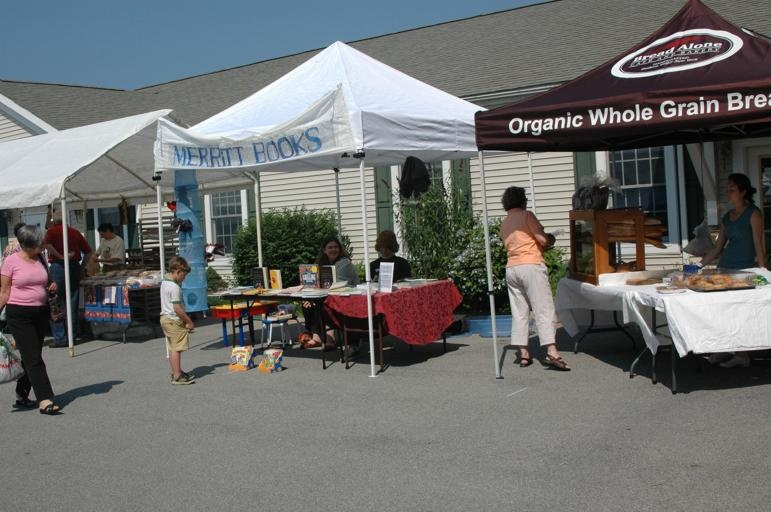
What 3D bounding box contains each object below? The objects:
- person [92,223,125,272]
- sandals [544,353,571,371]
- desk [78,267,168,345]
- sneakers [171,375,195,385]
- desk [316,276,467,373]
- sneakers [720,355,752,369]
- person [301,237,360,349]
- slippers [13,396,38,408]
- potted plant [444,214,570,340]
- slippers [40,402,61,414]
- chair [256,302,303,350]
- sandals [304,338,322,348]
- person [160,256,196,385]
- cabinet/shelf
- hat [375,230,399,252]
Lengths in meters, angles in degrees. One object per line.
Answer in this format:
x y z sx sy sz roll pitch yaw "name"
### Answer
-5.620 -0.183 13.277 0.562 0.985 1.227 -8 12 -23 "person"
2.226 1.359 8.477 0.328 0.129 0.176 3 1 30 "sandals"
-4.646 0.871 12.220 1.700 1.058 1.256 -2 7 16 "desk"
-2.742 1.674 8.858 0.272 0.116 0.121 -1 3 -6 "sneakers"
0.185 0.938 9.350 1.863 1.159 1.021 -11 13 -36 "desk"
4.378 1.323 8.249 0.437 0.170 0.148 0 0 5 "sneakers"
-0.916 0.527 10.085 0.960 1.586 0.792 -11 22 -44 "person"
-4.568 1.838 8.252 0.279 0.082 0.140 0 3 30 "slippers"
2.235 0.401 11.670 1.991 2.069 2.176 -3 -4 6 "potted plant"
-4.089 1.825 7.935 0.239 0.086 0.129 -2 -2 38 "slippers"
-1.753 1.122 10.746 0.405 0.614 0.441 -2 1 27 "chair"
-1.088 1.378 10.434 0.436 0.154 0.155 2 -4 -26 "sandals"
-2.817 0.865 8.896 0.437 1.727 0.804 -7 11 -17 "person"
2.947 -0.233 9.002 0.934 1.337 1.367 -2 2 -27 "cabinet/shelf"
0.022 -0.223 10.103 0.314 0.302 0.316 2 -3 10 "hat"
